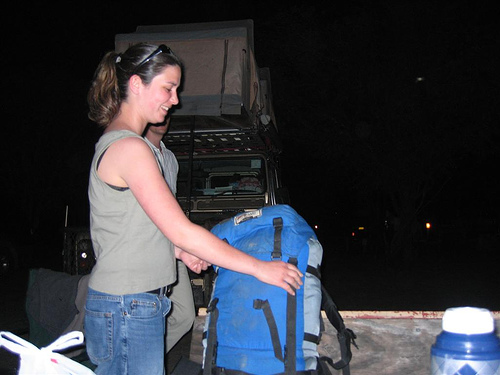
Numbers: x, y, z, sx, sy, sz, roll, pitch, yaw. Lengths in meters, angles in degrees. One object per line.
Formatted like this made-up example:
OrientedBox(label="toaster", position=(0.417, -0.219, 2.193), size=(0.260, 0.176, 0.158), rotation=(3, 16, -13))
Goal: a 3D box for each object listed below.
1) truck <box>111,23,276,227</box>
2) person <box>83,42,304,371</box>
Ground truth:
OrientedBox(label="truck", position=(-0.499, -1.014, 5.592), size=(1.953, 1.919, 3.612), rotation=(-2, -50, 6))
OrientedBox(label="person", position=(-0.428, 0.078, 2.040), size=(0.886, 1.657, 0.392), rotation=(4, -8, -12))
